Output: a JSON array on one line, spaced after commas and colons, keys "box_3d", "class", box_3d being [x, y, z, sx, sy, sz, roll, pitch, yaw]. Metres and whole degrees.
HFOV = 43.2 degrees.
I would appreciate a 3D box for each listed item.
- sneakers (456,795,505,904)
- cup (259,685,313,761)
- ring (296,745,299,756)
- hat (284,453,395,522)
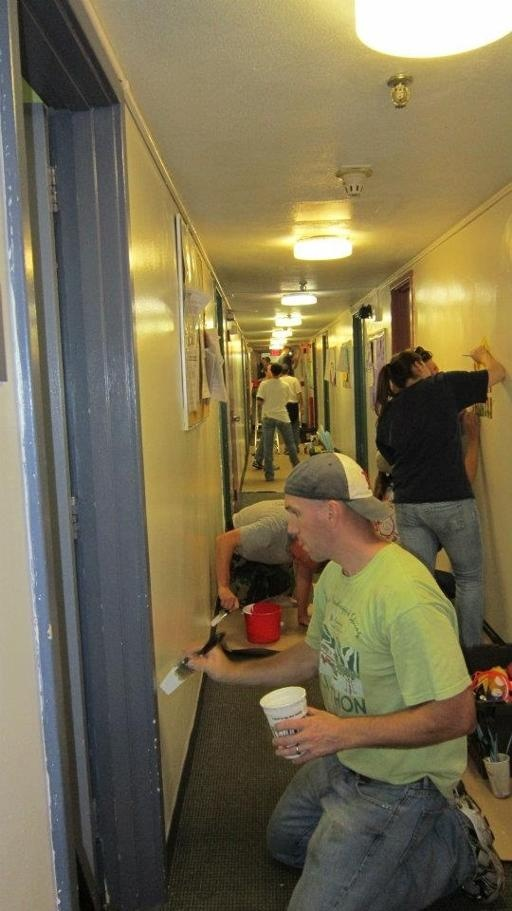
[{"box_3d": [0.614, 1.096, 1.772, 0.073, 0.262, 0.183, -14, -21, 4], "class": "sneakers"}, {"box_3d": [0.068, 0.623, 1.519, 0.107, 0.084, 0.180, -3, 2, 0], "class": "cup"}, {"box_3d": [0.091, 0.654, 1.427, 0.006, 0.019, 0.013, 2, -8, -10], "class": "ring"}, {"box_3d": [0.204, 0.041, 1.600, 0.228, 0.142, 0.155, 11, 11, 2], "class": "hat"}]
